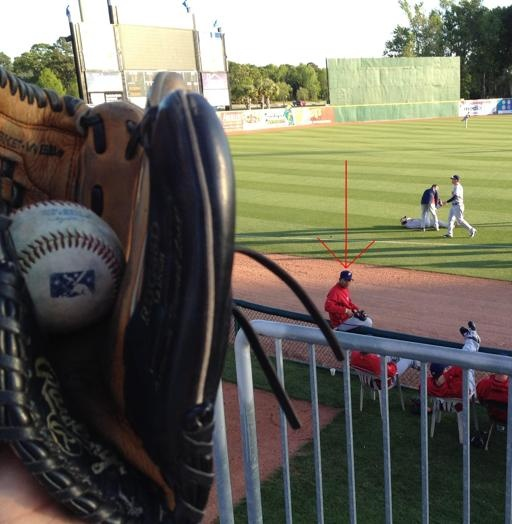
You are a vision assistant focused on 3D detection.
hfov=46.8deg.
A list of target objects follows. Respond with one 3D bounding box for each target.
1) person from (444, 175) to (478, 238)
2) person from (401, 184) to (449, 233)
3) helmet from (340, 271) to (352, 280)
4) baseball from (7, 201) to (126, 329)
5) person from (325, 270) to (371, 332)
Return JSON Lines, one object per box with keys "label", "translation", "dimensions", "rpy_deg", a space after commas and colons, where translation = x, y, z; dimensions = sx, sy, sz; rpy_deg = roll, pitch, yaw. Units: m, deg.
{"label": "person", "translation": [5.039, -1.646, 14.542], "dimensions": [0.611, 1.265, 3.623], "rpy_deg": [0, 16, 19]}
{"label": "person", "translation": [4.009, -1.261, 13.917], "dimensions": [0.883, 1.103, 0.881], "rpy_deg": [4, 16, 34]}
{"label": "helmet", "translation": [1.103, 0.162, 7.306], "dimensions": [0.090, 0.086, 0.145], "rpy_deg": [5, 5, -9]}
{"label": "baseball", "translation": [-0.388, 0.000, 1.241], "dimensions": [0.221, 0.232, 0.134], "rpy_deg": [-39, 6, -18]}
{"label": "person", "translation": [1.177, 0.502, 7.509], "dimensions": [0.450, 0.899, 0.406], "rpy_deg": [2, 15, 16]}
